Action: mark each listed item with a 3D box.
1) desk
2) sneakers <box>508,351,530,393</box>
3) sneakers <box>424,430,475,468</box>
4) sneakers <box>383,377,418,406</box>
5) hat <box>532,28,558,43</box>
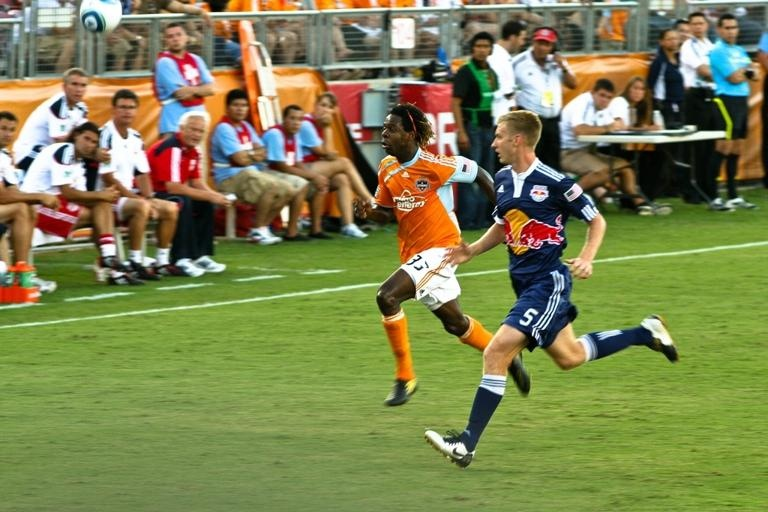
[{"bbox_3d":[4.144,-1.107,14.960,1.470,0.950,2.686,6,-3,42],"label":"desk"},{"bbox_3d":[0.967,0.795,7.422,0.138,0.286,0.145,-12,22,24],"label":"sneakers"},{"bbox_3d":[0.390,1.147,6.529,0.293,0.238,0.166,-2,7,-4],"label":"sneakers"},{"bbox_3d":[0.103,0.929,7.469,0.143,0.075,0.235,20,36,21],"label":"sneakers"},{"bbox_3d":[2.028,-2.791,13.859,0.270,0.208,0.358,0,6,6],"label":"hat"}]
